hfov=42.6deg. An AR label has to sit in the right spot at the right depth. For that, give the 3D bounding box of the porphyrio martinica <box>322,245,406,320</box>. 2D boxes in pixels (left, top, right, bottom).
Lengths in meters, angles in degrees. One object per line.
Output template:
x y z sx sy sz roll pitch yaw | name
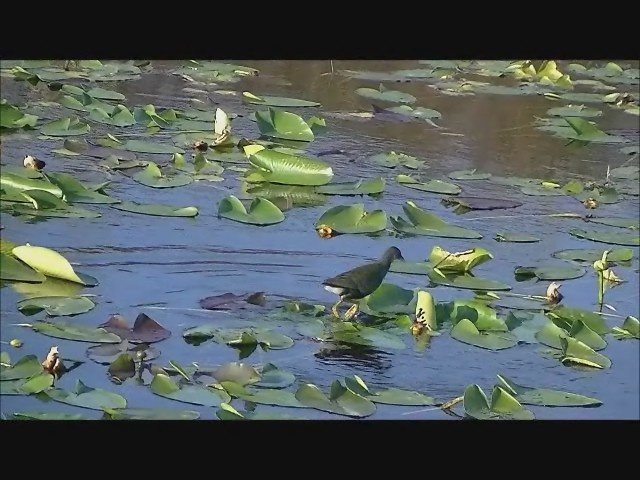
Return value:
0.095 0.109 2.223 0.283 0.159 0.096 -7 24 -39 | porphyrio martinica
